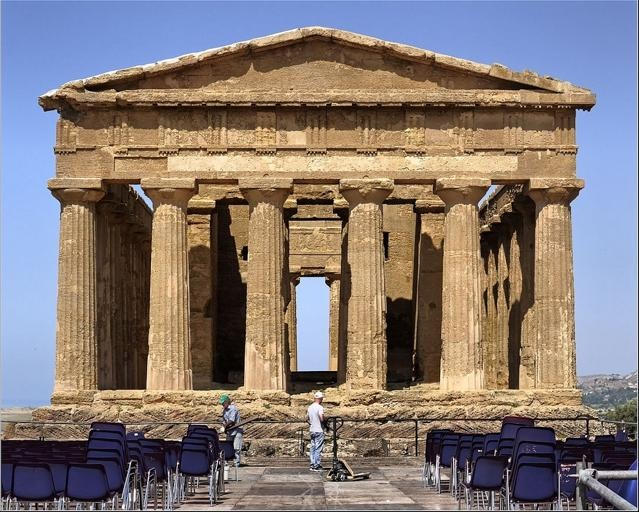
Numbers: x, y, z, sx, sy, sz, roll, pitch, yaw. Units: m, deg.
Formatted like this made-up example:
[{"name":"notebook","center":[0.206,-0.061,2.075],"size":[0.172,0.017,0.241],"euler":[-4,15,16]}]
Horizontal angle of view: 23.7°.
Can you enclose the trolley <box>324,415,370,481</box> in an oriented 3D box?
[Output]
[{"name":"trolley","center":[0.993,5.719,45.286],"size":[1.429,1.832,1.530],"euler":[-3,-5,-14]}]
